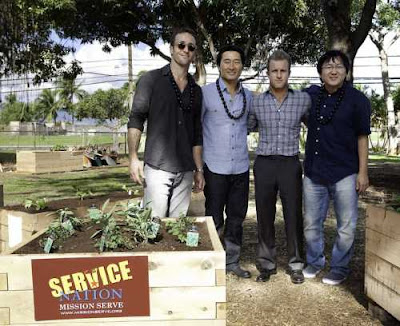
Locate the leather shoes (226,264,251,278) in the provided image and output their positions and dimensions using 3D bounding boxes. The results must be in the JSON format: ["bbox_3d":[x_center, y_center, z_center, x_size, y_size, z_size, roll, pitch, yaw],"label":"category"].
[{"bbox_3d":[0.408,1.159,3.947,0.283,0.114,0.116,9,12,34],"label":"leather shoes"}]

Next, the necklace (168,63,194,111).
[{"bbox_3d":[-0.171,-0.692,3.406,0.258,0.423,0.055,8,-20,-37],"label":"necklace"}]

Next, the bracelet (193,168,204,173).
[{"bbox_3d":[-0.010,0.073,3.549,0.066,0.044,0.066,-2,-11,31],"label":"bracelet"}]

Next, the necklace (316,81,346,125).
[{"bbox_3d":[1.285,-0.573,3.663,0.261,0.459,0.056,8,-1,34],"label":"necklace"}]

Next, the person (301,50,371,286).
[{"bbox_3d":[1.398,0.067,3.714,0.617,2.382,0.325,1,8,22],"label":"person"}]

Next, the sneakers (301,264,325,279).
[{"bbox_3d":[1.215,1.175,3.907,0.103,0.099,0.272,-2,-5,35],"label":"sneakers"}]

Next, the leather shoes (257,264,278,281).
[{"bbox_3d":[0.732,1.199,3.899,0.093,0.116,0.281,-4,-7,36],"label":"leather shoes"}]

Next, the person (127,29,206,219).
[{"bbox_3d":[-0.302,-0.360,3.350,0.753,1.748,0.448,-3,7,-16],"label":"person"}]

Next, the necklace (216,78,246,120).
[{"bbox_3d":[0.339,-0.679,3.796,0.330,0.450,0.250,-2,7,-5],"label":"necklace"}]

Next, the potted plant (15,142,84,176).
[{"bbox_3d":[-5.488,-0.069,13.238,0.916,0.918,2.076,4,9,37],"label":"potted plant"}]
